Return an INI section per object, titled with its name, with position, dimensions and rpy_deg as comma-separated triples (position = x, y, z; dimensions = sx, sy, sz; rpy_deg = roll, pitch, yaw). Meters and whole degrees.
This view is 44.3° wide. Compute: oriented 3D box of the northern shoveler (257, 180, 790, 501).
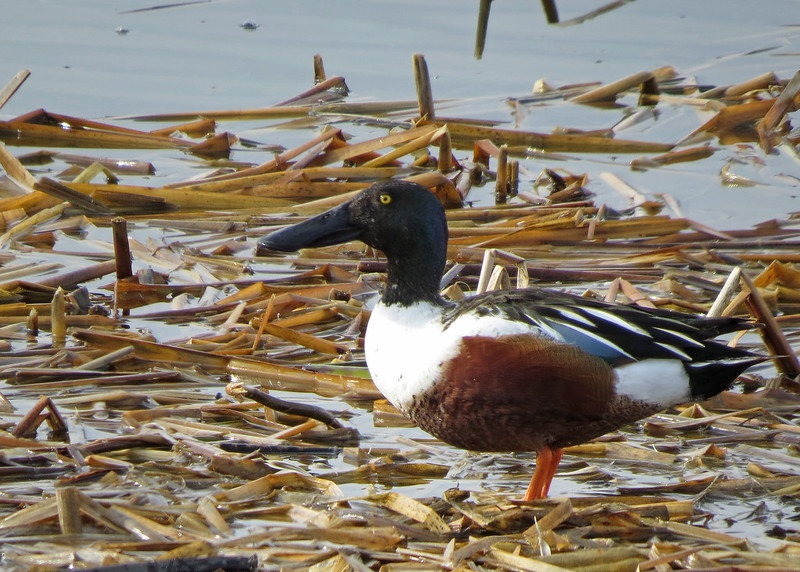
[northern shoveler]
position = 0.518, 0.222, 4.829
dimensions = 1.234, 1.386, 1.672
rpy_deg = -27, 39, -32
